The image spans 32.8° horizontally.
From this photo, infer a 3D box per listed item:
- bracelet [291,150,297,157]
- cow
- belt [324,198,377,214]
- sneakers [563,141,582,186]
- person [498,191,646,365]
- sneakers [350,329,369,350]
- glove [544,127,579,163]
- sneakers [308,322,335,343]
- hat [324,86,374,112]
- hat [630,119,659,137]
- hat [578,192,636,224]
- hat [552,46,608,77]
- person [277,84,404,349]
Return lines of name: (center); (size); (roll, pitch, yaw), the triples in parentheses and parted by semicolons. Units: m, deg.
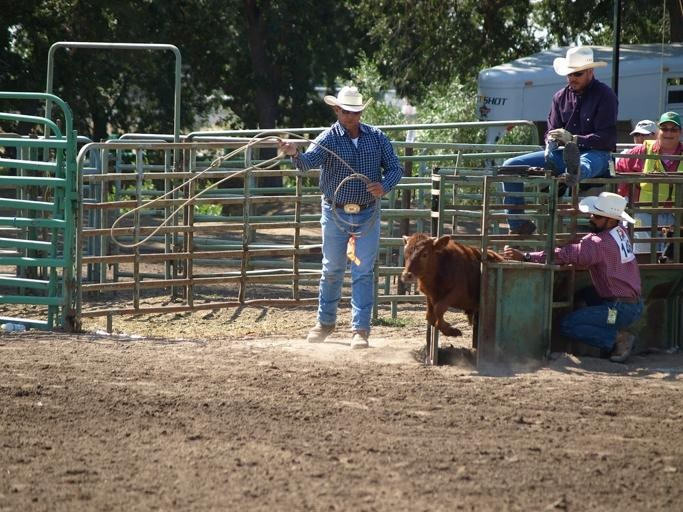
bracelet: (-0.526, -1.145, 12.793); (0.055, 0.058, 0.057); (-2, 5, 1)
cow: (1.131, 0.361, 13.028); (0.608, 0.959, 1.627); (-11, -27, 37)
belt: (0.086, -0.586, 13.273); (0.600, 0.185, 0.200); (2, 1, -1)
sneakers: (2.522, -1.031, 12.605); (0.155, 0.476, 0.180); (3, 13, 11)
person: (2.712, 0.191, 13.204); (1.478, 1.947, 0.903); (10, 18, 21)
sneakers: (0.208, 0.930, 13.319); (0.145, 0.151, 0.340); (1, -11, 0)
glove: (2.406, -1.278, 12.789); (0.266, 0.403, 0.160); (13, 21, 15)
sneakers: (-0.255, 0.870, 13.592); (0.342, 0.165, 0.165); (-4, 5, -34)
hat: (0.057, -1.769, 13.181); (0.386, 0.201, 0.455); (1, 4, -9)
hat: (4.277, -1.788, 16.170); (0.273, 0.226, 0.405); (0, -3, 42)
hat: (2.936, -0.577, 12.789); (0.404, 0.164, 0.358); (16, 22, -10)
hat: (2.698, -2.251, 13.242); (0.513, 0.374, 0.543); (2, 1, 16)
person: (0.085, -0.442, 13.269); (1.057, 2.918, 0.656); (1, 1, 2)
